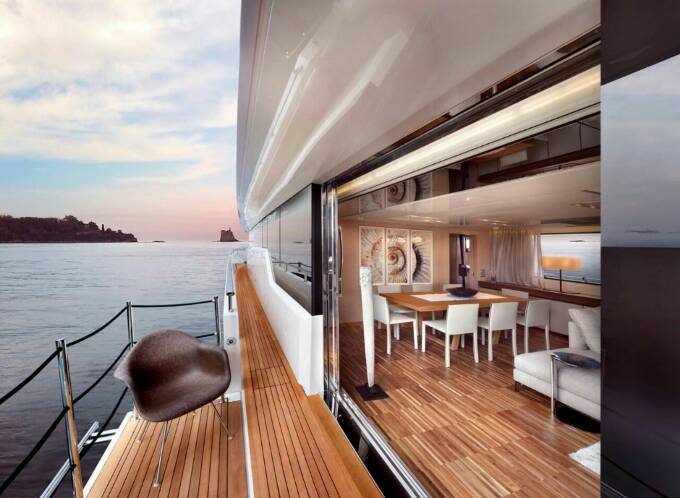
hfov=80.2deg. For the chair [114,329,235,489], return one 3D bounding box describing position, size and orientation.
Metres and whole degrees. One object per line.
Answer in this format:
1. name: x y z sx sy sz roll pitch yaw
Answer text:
1. chair: -1.299 1.212 3.210 0.812 0.910 0.660 -12 15 -41
